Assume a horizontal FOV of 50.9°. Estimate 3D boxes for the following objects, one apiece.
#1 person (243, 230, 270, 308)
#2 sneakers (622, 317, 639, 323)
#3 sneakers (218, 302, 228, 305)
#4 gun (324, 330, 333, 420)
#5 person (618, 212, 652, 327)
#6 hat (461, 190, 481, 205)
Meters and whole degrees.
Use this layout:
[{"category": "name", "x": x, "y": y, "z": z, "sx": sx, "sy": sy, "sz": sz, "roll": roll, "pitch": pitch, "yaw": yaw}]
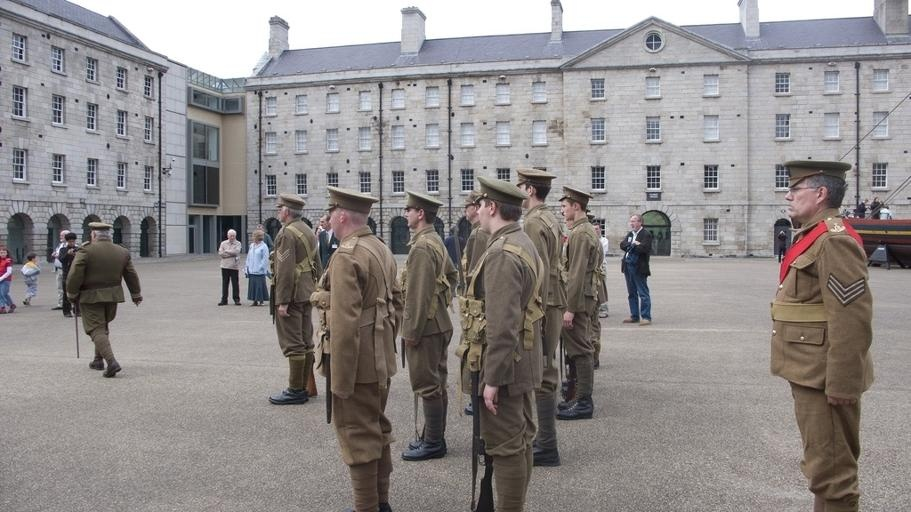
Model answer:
[{"category": "person", "x": -8.479, "y": 0.494, "z": 40.681, "sx": 0.966, "sy": 3.240, "sz": 1.068, "roll": -2, "pitch": 3, "yaw": -14}, {"category": "sneakers", "x": 6.852, "y": 2.563, "z": 37.424, "sx": 0.626, "sy": 0.248, "sz": 0.202, "roll": 6, "pitch": -13, "yaw": 16}, {"category": "sneakers", "x": -9.908, "y": 2.031, "z": 40.692, "sx": 0.469, "sy": 0.109, "sz": 0.262, "roll": -4, "pitch": 4, "yaw": -44}, {"category": "gun", "x": -3.904, "y": 3.655, "z": 29.235, "sx": 0.346, "sy": 2.528, "sz": 0.136, "roll": -2, "pitch": -1, "yaw": 33}, {"category": "person", "x": 7.128, "y": 0.509, "z": 37.544, "sx": 1.095, "sy": 4.224, "sz": 1.332, "roll": -1, "pitch": 3, "yaw": 10}, {"category": "hat", "x": 0.598, "y": -2.037, "z": 33.302, "sx": 0.656, "sy": 0.246, "sz": 0.439, "roll": -5, "pitch": -3, "yaw": 42}]
